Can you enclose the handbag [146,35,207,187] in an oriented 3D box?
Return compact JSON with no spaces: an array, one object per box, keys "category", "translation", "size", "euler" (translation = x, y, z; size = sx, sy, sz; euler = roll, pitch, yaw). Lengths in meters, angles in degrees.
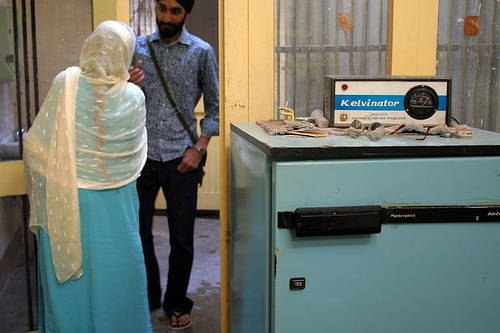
[{"category":"handbag","translation":[-0.452,-0.334,3.169],"size":[0.120,0.924,0.102],"euler":[-21,17,3]}]
